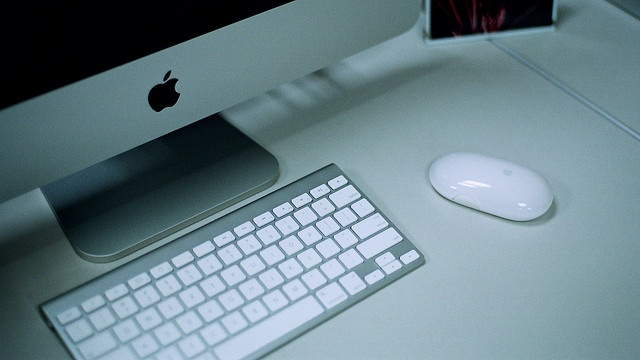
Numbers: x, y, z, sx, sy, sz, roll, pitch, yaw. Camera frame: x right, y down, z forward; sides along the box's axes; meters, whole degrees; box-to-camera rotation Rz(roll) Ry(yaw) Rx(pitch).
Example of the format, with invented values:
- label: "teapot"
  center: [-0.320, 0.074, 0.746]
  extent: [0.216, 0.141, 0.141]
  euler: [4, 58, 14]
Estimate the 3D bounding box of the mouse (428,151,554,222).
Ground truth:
- label: "mouse"
  center: [0.270, 0.004, 0.722]
  extent: [0.096, 0.173, 0.043]
  euler: [-59, -23, -33]
